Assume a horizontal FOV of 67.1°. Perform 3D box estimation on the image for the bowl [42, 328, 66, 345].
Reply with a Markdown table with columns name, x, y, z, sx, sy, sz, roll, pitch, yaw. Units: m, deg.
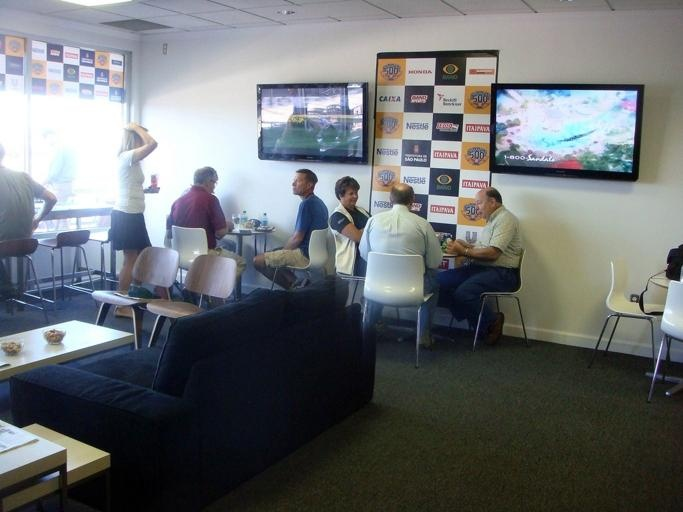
| name | x | y | z | sx | sy | sz | roll | pitch | yaw |
| --- | --- | --- | --- | --- | --- | --- | --- | --- | --- |
| bowl | -1.842 | 0.514 | 3.297 | 0.100 | 0.060 | 0.100 | 4 | -4 | 0 |

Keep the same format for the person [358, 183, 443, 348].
| name | x | y | z | sx | sy | sz | roll | pitch | yaw |
| --- | --- | --- | --- | --- | --- | --- | --- | --- | --- |
| person | 0.548 | 0.104 | 4.793 | 0.787 | 1.491 | 0.724 | 5 | 14 | 18 |

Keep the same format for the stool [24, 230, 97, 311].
| name | x | y | z | sx | sy | sz | roll | pitch | yaw |
| --- | --- | --- | --- | --- | --- | --- | --- | --- | --- |
| stool | -3.251 | 0.176 | 5.899 | 0.661 | 1.016 | 0.629 | 12 | 14 | 21 |

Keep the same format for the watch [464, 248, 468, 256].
| name | x | y | z | sx | sy | sz | roll | pitch | yaw |
| --- | --- | --- | --- | --- | --- | --- | --- | --- | --- |
| watch | 1.176 | -0.039 | 4.813 | 0.043 | 0.061 | 0.018 | 7 | -8 | 3 |

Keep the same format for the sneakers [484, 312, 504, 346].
| name | x | y | z | sx | sy | sz | roll | pitch | yaw |
| --- | --- | --- | --- | --- | --- | --- | --- | --- | --- |
| sneakers | 1.466 | 0.681 | 4.904 | 0.154 | 0.337 | 0.126 | 1 | 19 | 0 |

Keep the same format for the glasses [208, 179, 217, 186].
| name | x | y | z | sx | sy | sz | roll | pitch | yaw |
| --- | --- | --- | --- | --- | --- | --- | --- | --- | --- |
| glasses | -1.396 | -0.811 | 5.629 | 0.056 | 0.068 | 0.061 | 5 | -23 | -11 |

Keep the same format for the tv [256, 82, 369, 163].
| name | x | y | z | sx | sy | sz | roll | pitch | yaw |
| --- | --- | --- | --- | --- | --- | --- | --- | --- | --- |
| tv | -0.263 | -1.499 | 5.690 | 0.967 | 0.567 | 0.105 | 5 | 10 | 22 |

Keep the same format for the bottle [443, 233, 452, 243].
| name | x | y | z | sx | sy | sz | roll | pitch | yaw |
| --- | --- | --- | --- | --- | --- | --- | --- | --- | --- |
| bottle | 1.076 | -0.179 | 5.163 | 0.096 | 0.090 | 0.022 | 2 | 11 | -42 |

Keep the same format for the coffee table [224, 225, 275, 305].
| name | x | y | z | sx | sy | sz | roll | pitch | yaw |
| --- | --- | --- | --- | --- | --- | --- | --- | --- | --- |
| coffee table | -1.071 | 0.043 | 5.933 | 0.743 | 0.806 | 0.729 | 1 | 2 | 3 |
